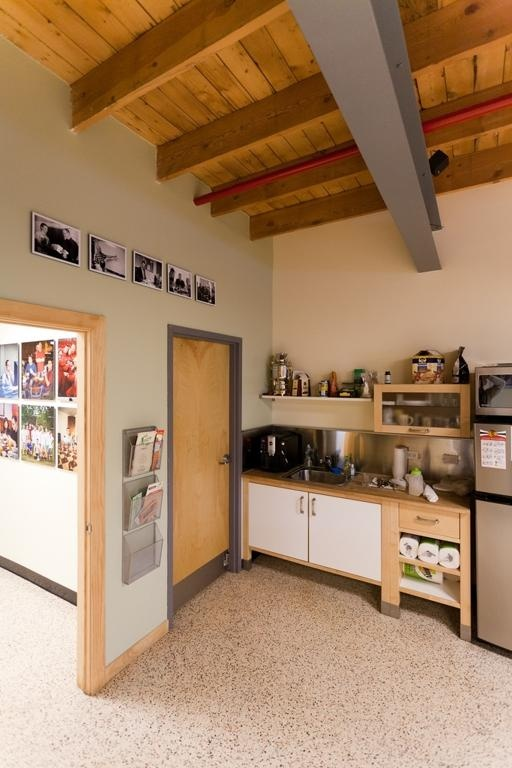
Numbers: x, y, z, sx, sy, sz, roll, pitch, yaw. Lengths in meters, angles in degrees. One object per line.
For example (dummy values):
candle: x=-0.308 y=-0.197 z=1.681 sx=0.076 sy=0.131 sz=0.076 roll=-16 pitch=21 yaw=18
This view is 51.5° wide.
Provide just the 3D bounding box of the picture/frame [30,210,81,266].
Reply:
picture/frame: x=-0.872 y=-0.623 z=2.271 sx=0.009 sy=0.205 sz=0.261 roll=-1 pitch=-2 yaw=26

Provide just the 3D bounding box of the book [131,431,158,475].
book: x=-0.585 y=0.350 z=2.744 sx=0.031 sy=0.285 sz=0.198 roll=7 pitch=7 yaw=24

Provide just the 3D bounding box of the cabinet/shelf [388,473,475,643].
cabinet/shelf: x=1.071 y=1.031 z=3.196 sx=0.472 sy=0.732 sz=0.352 roll=1 pitch=4 yaw=43

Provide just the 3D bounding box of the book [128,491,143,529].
book: x=-0.612 y=0.653 z=2.697 sx=0.035 sy=0.176 sz=0.083 roll=3 pitch=7 yaw=26

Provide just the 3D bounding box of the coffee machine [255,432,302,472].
coffee machine: x=0.174 y=0.503 z=3.926 sx=0.231 sy=0.296 sz=0.288 roll=-3 pitch=-7 yaw=38
